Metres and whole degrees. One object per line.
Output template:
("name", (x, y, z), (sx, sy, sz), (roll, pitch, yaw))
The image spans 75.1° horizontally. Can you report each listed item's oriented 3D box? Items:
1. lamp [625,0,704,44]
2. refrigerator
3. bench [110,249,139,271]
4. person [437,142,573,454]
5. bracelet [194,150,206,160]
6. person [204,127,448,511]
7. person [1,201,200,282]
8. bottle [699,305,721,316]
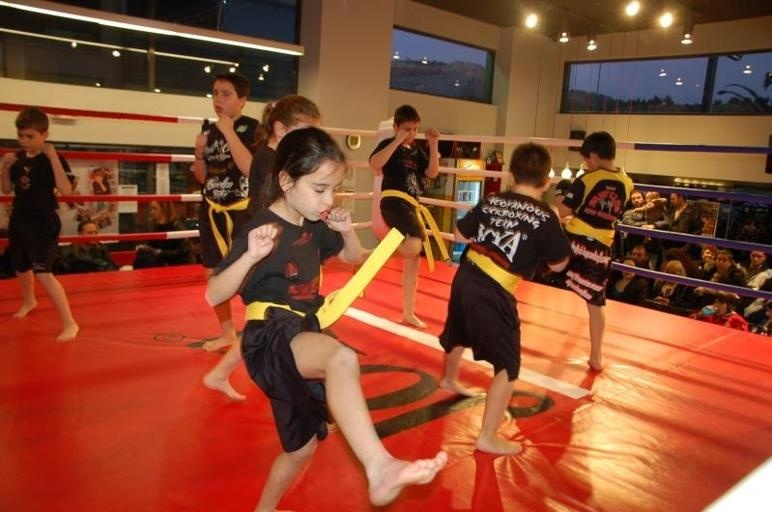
("lamp", (4.982, -4.260, 9.177), (1.168, 0.567, 3.228), (10, 18, 28))
("refrigerator", (1.419, -1.065, 10.472), (0.776, 1.432, 0.788), (-2, 11, -31))
("bench", (-3.117, 0.039, 5.999), (0.268, 0.277, 0.378), (0, 4, 4))
("person", (0.732, 0.206, 2.902), (0.629, 1.646, 0.662), (-5, 17, -22))
("bracelet", (-1.373, -0.733, 3.696), (0.062, 0.087, 0.113), (7, -7, -31))
("person", (-0.378, 0.335, 2.091), (0.684, 1.665, 0.858), (-4, 16, -19))
("person", (-2.802, -0.096, 5.535), (2.460, 0.849, 0.734), (-3, 15, -17))
("bottle", (3.272, 0.552, 5.120), (0.131, 0.046, 0.130), (-12, 17, 4))
